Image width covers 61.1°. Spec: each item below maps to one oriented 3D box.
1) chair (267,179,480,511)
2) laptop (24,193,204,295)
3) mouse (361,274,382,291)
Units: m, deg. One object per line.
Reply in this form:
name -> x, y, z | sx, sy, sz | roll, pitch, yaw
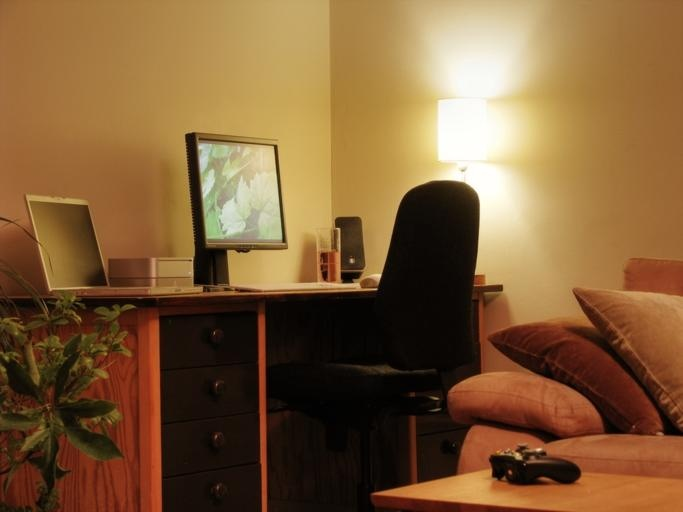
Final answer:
chair -> 0.336, 0.340, 2.506 | 0.940, 1.594, 0.838 | -2, -6, 18
laptop -> -0.697, -0.012, 1.789 | 0.392, 0.291, 0.377 | -4, -8, 15
mouse -> 0.107, 0.092, 2.032 | 0.047, 0.032, 0.062 | 2, -2, 23
